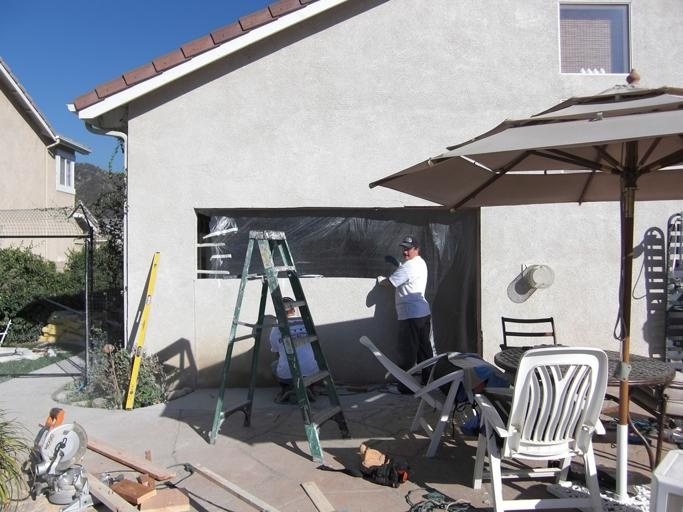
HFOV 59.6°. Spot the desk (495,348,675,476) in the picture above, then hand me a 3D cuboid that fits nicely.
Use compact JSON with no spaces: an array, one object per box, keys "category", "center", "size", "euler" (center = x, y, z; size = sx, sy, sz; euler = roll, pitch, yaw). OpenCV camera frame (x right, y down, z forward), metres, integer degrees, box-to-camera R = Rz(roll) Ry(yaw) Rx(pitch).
[{"category":"desk","center":[2.716,1.942,6.763],"size":[1.806,1.654,1.494],"euler":[-1,-1,5]}]

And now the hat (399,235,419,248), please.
[{"category":"hat","center":[1.015,-0.197,8.849],"size":[0.243,0.157,0.166],"euler":[3,-2,-18]}]

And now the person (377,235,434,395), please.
[{"category":"person","center":[0.996,0.871,8.905],"size":[0.744,2.195,0.631],"euler":[-2,1,-22]}]

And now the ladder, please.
[{"category":"ladder","center":[-0.618,1.060,7.512],"size":[1.461,3.278,1.306],"euler":[-1,-2,21]}]
